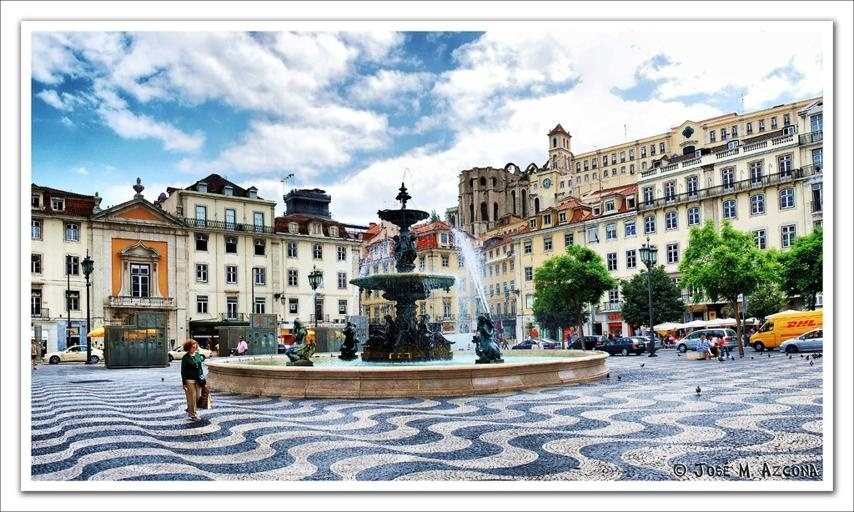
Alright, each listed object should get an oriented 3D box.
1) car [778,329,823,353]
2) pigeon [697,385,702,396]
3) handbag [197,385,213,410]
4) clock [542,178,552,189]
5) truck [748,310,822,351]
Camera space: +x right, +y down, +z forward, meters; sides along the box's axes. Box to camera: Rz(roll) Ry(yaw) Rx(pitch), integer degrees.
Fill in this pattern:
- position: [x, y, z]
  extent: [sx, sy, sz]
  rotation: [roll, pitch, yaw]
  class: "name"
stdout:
- position: [19.957, 4.561, 45.647]
  extent: [2.933, 1.108, 1.667]
  rotation: [0, -6, 28]
  class: "car"
- position: [9.561, 4.723, 30.536]
  extent: [0.186, 0.194, 0.522]
  rotation: [-7, 2, 16]
  class: "pigeon"
- position: [-7.225, 4.590, 27.952]
  extent: [0.489, 0.849, 0.993]
  rotation: [5, -12, -33]
  class: "handbag"
- position: [15.124, -9.285, 109.472]
  extent: [1.259, 1.083, 0.377]
  rotation: [-3, -7, 41]
  class: "clock"
- position: [21.087, 4.161, 49.824]
  extent: [2.131, 1.789, 4.167]
  rotation: [4, -7, -36]
  class: "truck"
